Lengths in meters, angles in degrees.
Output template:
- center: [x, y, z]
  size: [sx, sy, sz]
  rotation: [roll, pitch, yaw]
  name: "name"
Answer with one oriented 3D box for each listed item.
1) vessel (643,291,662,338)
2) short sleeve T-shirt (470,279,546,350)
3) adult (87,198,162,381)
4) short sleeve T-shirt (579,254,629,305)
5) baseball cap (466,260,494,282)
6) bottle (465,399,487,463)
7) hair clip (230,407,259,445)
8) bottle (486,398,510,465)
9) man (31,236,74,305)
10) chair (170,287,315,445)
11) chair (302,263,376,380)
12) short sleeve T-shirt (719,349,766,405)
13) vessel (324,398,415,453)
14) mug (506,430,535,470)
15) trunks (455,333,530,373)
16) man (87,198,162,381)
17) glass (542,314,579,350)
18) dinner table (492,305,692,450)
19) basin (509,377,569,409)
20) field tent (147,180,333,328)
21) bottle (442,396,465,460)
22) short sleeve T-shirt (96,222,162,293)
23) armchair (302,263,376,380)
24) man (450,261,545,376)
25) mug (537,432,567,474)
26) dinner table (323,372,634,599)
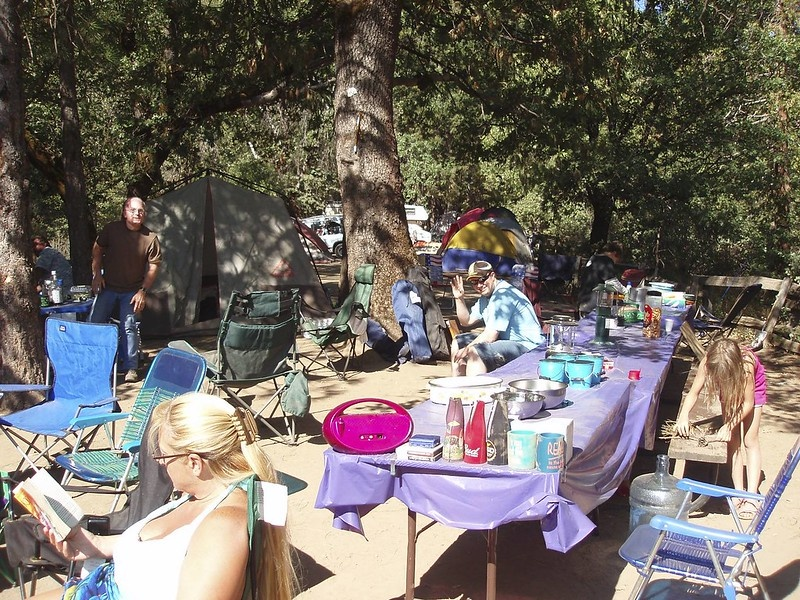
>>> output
- center: [2.553, 0.171, 7.356]
  size: [0.169, 0.482, 0.181]
  rotation: [4, -1, -20]
  name: "vessel"
- center: [1.070, 0.181, 7.412]
  size: [0.666, 0.746, 0.608]
  rotation: [-5, 6, 0]
  name: "short sleeve T-shirt"
- center: [-3.294, -0.132, 8.591]
  size: [0.716, 2.223, 0.608]
  rotation: [10, 13, -10]
  name: "adult"
- center: [2.894, -0.259, 10.335]
  size: [0.490, 0.800, 0.897]
  rotation: [-5, 14, -6]
  name: "short sleeve T-shirt"
- center: [0.780, -0.260, 7.089]
  size: [0.242, 0.174, 0.202]
  rotation: [2, 7, -11]
  name: "baseball cap"
- center: [0.436, 0.763, 4.144]
  size: [0.136, 0.343, 0.125]
  rotation: [3, 7, 0]
  name: "bottle"
- center: [-0.703, 0.521, 3.282]
  size: [0.073, 0.189, 0.221]
  rotation: [-10, 45, -20]
  name: "hair clip"
- center: [0.569, 0.770, 4.205]
  size: [0.125, 0.320, 0.244]
  rotation: [4, 7, 8]
  name: "bottle"
- center: [-4.737, -0.292, 9.857]
  size: [0.534, 1.097, 0.462]
  rotation: [-5, -5, -6]
  name: "man"
- center: [-1.468, 0.653, 7.326]
  size: [1.405, 1.634, 1.341]
  rotation: [5, 10, 25]
  name: "chair"
- center: [-0.812, 0.272, 9.318]
  size: [0.965, 1.443, 1.069]
  rotation: [1, 9, -2]
  name: "chair"
- center: [2.668, 0.629, 5.712]
  size: [0.229, 0.477, 0.340]
  rotation: [-4, 10, 2]
  name: "short sleeve T-shirt"
- center: [-0.173, 0.797, 4.400]
  size: [0.533, 0.360, 0.269]
  rotation: [-1, -17, -6]
  name: "vessel"
- center: [0.682, 0.850, 4.131]
  size: [0.189, 0.187, 0.128]
  rotation: [0, -2, 19]
  name: "mug"
- center: [0.844, 0.568, 7.101]
  size: [0.509, 0.311, 0.464]
  rotation: [-22, -5, -7]
  name: "trunks"
- center: [-3.273, -0.121, 8.595]
  size: [0.725, 2.239, 0.592]
  rotation: [10, 12, -9]
  name: "man"
- center: [1.335, 0.309, 6.250]
  size: [0.313, 0.361, 0.332]
  rotation: [6, 8, 30]
  name: "glass"
- center: [1.879, 0.509, 6.553]
  size: [0.999, 0.718, 2.697]
  rotation: [2, 11, 19]
  name: "dinner table"
- center: [0.943, 0.602, 4.899]
  size: [0.234, 0.104, 0.238]
  rotation: [-1, -2, 0]
  name: "basin"
- center: [-2.735, -0.822, 12.496]
  size: [2.363, 1.697, 2.550]
  rotation: [0, 4, 2]
  name: "field tent"
- center: [0.315, 0.761, 4.240]
  size: [0.123, 0.321, 0.228]
  rotation: [3, 7, 4]
  name: "bottle"
- center: [-3.229, -0.478, 8.603]
  size: [0.761, 0.852, 0.440]
  rotation: [11, 10, -24]
  name: "short sleeve T-shirt"
- center: [-0.791, 0.262, 9.366]
  size: [0.943, 1.452, 0.961]
  rotation: [-2, 7, -22]
  name: "armchair"
- center: [0.972, 0.428, 7.400]
  size: [0.975, 1.606, 0.838]
  rotation: [-4, 5, -12]
  name: "man"
- center: [0.834, 0.856, 4.016]
  size: [0.192, 0.189, 0.128]
  rotation: [-3, 5, -19]
  name: "mug"
- center: [0.605, 1.145, 5.158]
  size: [1.734, 0.545, 2.483]
  rotation: [-1, 0, 13]
  name: "dinner table"
